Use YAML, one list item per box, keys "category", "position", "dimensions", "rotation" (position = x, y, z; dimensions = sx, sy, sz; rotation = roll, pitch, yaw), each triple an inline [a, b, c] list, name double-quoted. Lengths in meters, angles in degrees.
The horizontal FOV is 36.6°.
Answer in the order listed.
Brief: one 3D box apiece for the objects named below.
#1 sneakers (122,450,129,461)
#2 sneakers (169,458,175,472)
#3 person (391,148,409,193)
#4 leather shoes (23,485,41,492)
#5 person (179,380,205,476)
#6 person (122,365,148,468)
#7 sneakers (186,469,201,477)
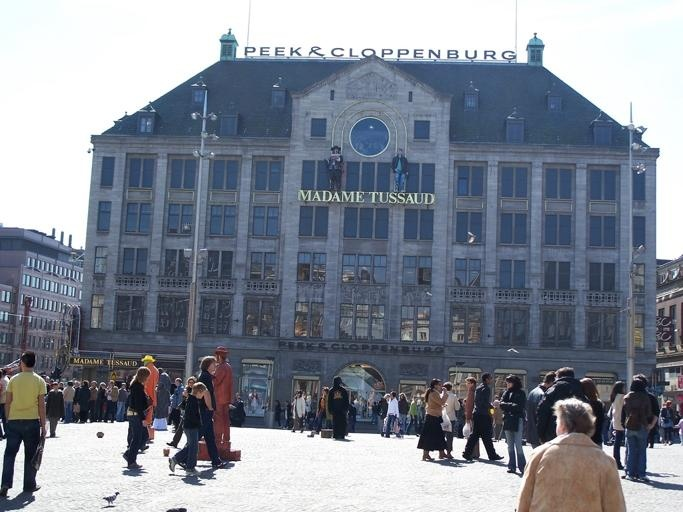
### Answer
- category: "sneakers"
  position: [-5.410, 5.058, 25.998]
  dimensions: [0.098, 0.280, 0.226]
  rotation: [3, -4, -19]
- category: "sneakers"
  position: [-4.079, 5.065, 24.978]
  dimensions: [0.182, 0.364, 0.126]
  rotation: [-7, -5, -8]
- category: "person"
  position: [3.671, -5.502, 64.790]
  dimensions: [0.996, 2.686, 0.981]
  rotation: [0, -11, 8]
- category: "leather shoes"
  position: [-6.749, 5.118, 22.658]
  dimensions: [0.206, 0.148, 0.444]
  rotation: [-2, -10, 15]
- category: "person"
  position: [-3.640, 4.190, 25.338]
  dimensions: [0.521, 2.180, 0.832]
  rotation: [3, -11, -8]
- category: "person"
  position: [-5.237, 4.119, 26.435]
  dimensions: [0.519, 2.598, 0.620]
  rotation: [3, -12, -9]
- category: "sneakers"
  position: [-3.583, 5.264, 25.025]
  dimensions: [0.382, 0.149, 0.126]
  rotation: [1, 0, -4]
